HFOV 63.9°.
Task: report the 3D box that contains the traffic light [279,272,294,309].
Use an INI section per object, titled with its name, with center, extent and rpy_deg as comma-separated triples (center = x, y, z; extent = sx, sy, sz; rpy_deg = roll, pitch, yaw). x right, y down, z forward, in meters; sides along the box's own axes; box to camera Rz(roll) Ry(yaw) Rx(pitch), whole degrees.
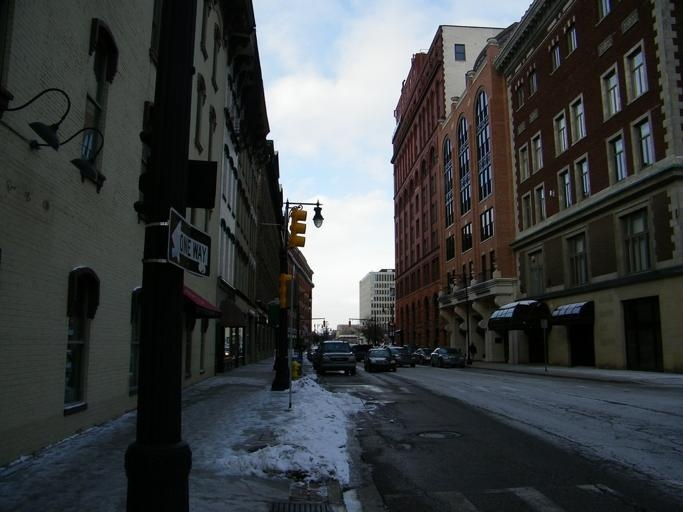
[traffic light]
center = -1.654, 0.947, 16.284
extent = 0.388, 1.148, 1.405
rpy_deg = -1, -13, -7

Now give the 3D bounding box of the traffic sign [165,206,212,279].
[traffic sign]
center = -1.629, -0.117, 5.941
extent = 0.139, 0.630, 0.791
rpy_deg = -5, -13, 14
